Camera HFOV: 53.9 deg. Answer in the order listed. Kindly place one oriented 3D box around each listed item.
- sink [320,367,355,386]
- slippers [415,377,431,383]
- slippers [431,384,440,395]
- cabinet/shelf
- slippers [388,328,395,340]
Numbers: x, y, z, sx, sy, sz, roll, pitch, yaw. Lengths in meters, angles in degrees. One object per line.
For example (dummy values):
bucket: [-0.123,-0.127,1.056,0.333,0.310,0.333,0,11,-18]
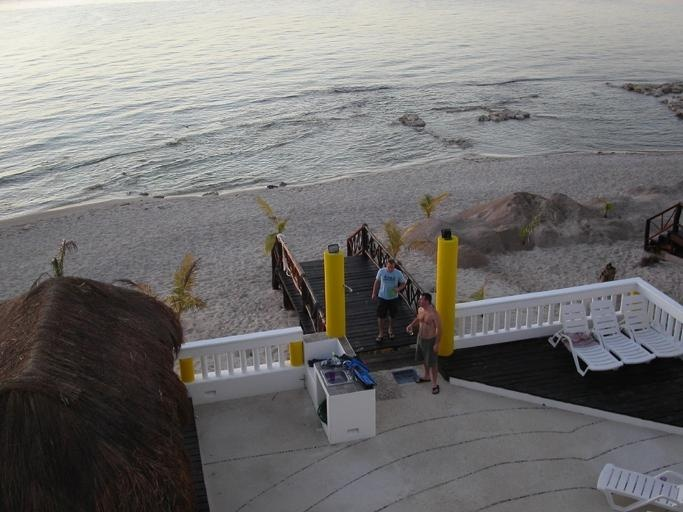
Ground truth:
sink: [-0.083,1.809,10.129,0.321,0.100,0.251,-3,39,-12]
slippers: [1.341,2.039,11.135,0.184,0.048,0.088,-1,34,-2]
slippers: [1.514,2.147,10.911,0.105,0.059,0.267,-1,22,10]
cabinet/shelf: [-0.095,2.084,10.419,0.650,0.763,1.536,-4,24,-12]
slippers: [0.955,1.482,12.900,0.092,0.050,0.215,-2,29,1]
